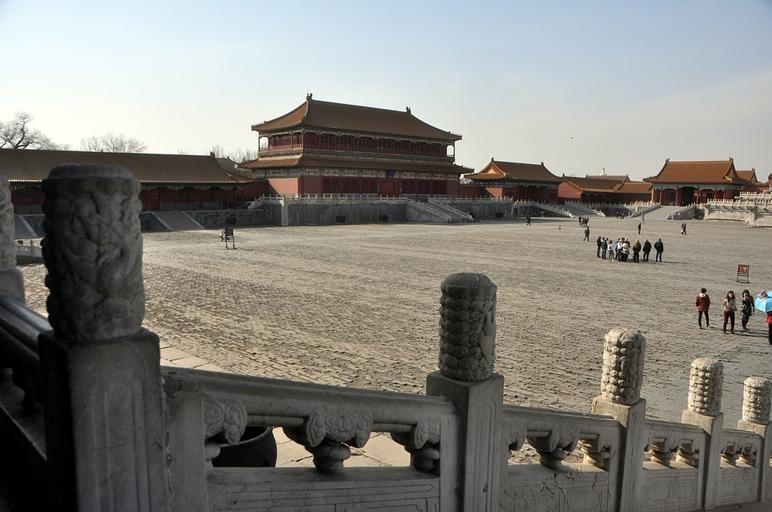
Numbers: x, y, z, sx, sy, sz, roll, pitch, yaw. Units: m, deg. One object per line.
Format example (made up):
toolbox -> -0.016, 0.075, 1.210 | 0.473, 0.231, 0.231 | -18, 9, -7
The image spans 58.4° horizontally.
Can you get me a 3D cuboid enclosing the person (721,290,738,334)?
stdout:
person -> 5.890, 0.926, 11.814 | 0.193, 0.739, 0.724 | 4, 7, 26
